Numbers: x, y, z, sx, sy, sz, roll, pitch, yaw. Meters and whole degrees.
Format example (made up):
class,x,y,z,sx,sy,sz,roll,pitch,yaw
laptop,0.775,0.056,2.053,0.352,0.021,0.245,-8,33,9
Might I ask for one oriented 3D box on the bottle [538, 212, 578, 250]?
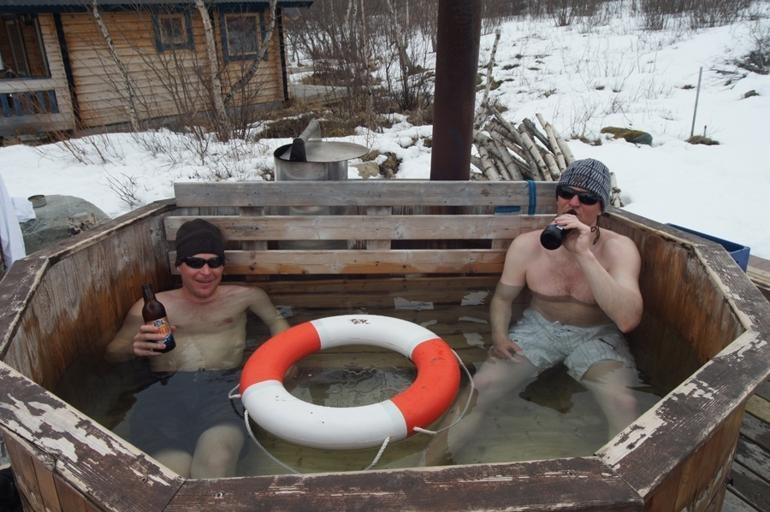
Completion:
class,x,y,z,sx,sy,sz,roll,pitch,yaw
bottle,1.207,-0.176,3.086,0.125,0.113,0.314,-34,-4,34

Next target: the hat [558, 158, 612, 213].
class,x,y,z,sx,sy,sz,roll,pitch,yaw
hat,1.433,-0.507,3.201,0.352,0.418,0.315,6,27,22

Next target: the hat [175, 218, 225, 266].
class,x,y,z,sx,sy,sz,roll,pitch,yaw
hat,-1.401,-0.084,3.419,0.338,0.317,0.425,-11,-19,11

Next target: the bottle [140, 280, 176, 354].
class,x,y,z,sx,sy,sz,roll,pitch,yaw
bottle,-1.564,0.418,3.032,0.156,0.469,0.360,-20,29,-27

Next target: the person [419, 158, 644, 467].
class,x,y,z,sx,sy,sz,roll,pitch,yaw
person,1.180,0.187,2.900,1.031,1.462,1.524,8,27,24
